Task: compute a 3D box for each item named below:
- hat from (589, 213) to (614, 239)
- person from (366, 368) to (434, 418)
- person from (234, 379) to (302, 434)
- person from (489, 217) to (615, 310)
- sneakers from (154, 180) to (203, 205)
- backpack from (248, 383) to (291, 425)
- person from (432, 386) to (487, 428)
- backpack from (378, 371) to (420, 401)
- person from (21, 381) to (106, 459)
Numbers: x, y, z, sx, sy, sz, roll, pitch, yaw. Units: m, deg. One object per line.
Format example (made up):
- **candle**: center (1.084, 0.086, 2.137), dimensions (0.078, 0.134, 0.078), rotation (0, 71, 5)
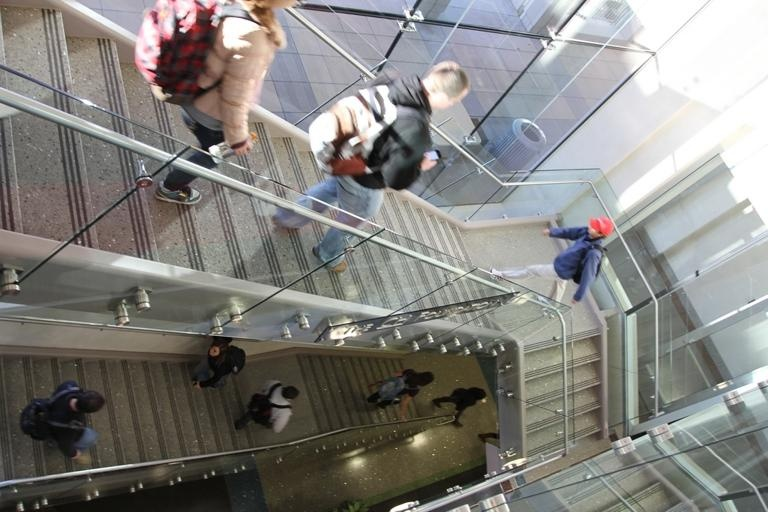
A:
- **hat**: center (3.527, -0.448, 7.293), dimensions (0.316, 0.265, 0.444), rotation (45, 36, 24)
- **person**: center (0.276, 2.743, 8.966), dimensions (0.469, 1.546, 0.640), rotation (49, 33, -70)
- **person**: center (-1.869, 2.406, 7.126), dimensions (0.500, 1.370, 0.488), rotation (12, 65, -60)
- **person**: center (2.903, 0.160, 7.700), dimensions (1.869, 2.006, 0.940), rotation (0, 80, -14)
- **sneakers**: center (-1.263, -0.378, 2.764), dimensions (0.284, 0.112, 0.074), rotation (-1, 82, -23)
- **backpack**: center (-1.762, 2.334, 7.002), dimensions (0.567, 0.777, 0.383), rotation (60, 35, -9)
- **person**: center (1.494, 3.123, 9.344), dimensions (0.662, 1.136, 0.320), rotation (63, 19, 2)
- **backpack**: center (0.277, 2.554, 8.801), dimensions (0.219, 0.942, 0.386), rotation (10, 71, -84)
- **person**: center (-3.372, 1.734, 4.702), dimensions (0.577, 1.324, 0.498), rotation (4, 86, -31)
